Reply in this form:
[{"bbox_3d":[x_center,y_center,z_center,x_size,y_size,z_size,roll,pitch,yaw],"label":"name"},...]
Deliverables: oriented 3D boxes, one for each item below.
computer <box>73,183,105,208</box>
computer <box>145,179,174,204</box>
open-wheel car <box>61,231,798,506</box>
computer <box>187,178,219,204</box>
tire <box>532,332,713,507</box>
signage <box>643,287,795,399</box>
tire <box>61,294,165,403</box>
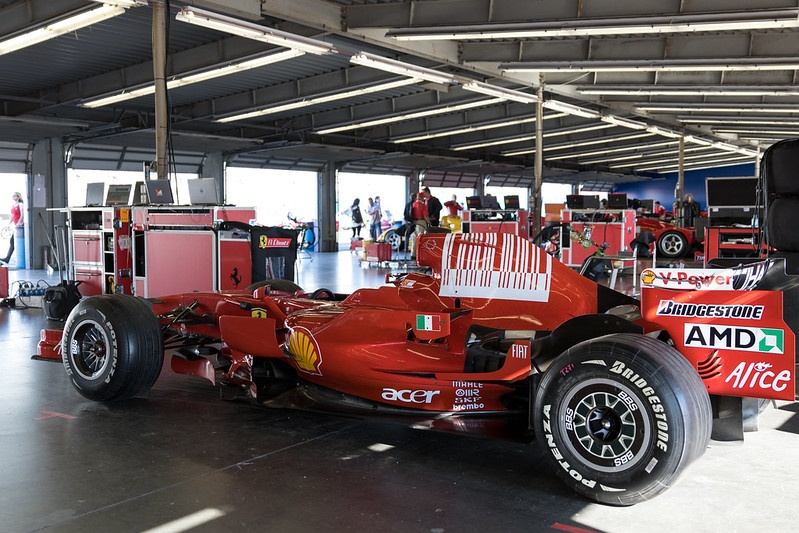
[{"bbox_3d":[-5.234,-1.254,10.525,0.782,0.379,0.303,6,14,32],"label":"computer"},{"bbox_3d":[-3.629,-1.130,9.314,0.482,0.377,0.106,1,3,21],"label":"computer"},{"bbox_3d":[-0.367,0.443,4.893,5.854,1.344,2.180,5,2,28],"label":"open-wheel car"},{"bbox_3d":[-2.938,-1.125,9.138,0.627,0.375,0.421,1,5,30],"label":"computer"},{"bbox_3d":[1.316,0.910,3.563,0.825,0.740,0.413,43,26,24],"label":"tire"},{"bbox_3d":[1.873,0.468,3.581,0.801,0.544,0.082,0,0,34],"label":"signage"},{"bbox_3d":[-2.447,0.699,5.239,1.003,0.865,0.452,-4,-4,35],"label":"tire"}]
